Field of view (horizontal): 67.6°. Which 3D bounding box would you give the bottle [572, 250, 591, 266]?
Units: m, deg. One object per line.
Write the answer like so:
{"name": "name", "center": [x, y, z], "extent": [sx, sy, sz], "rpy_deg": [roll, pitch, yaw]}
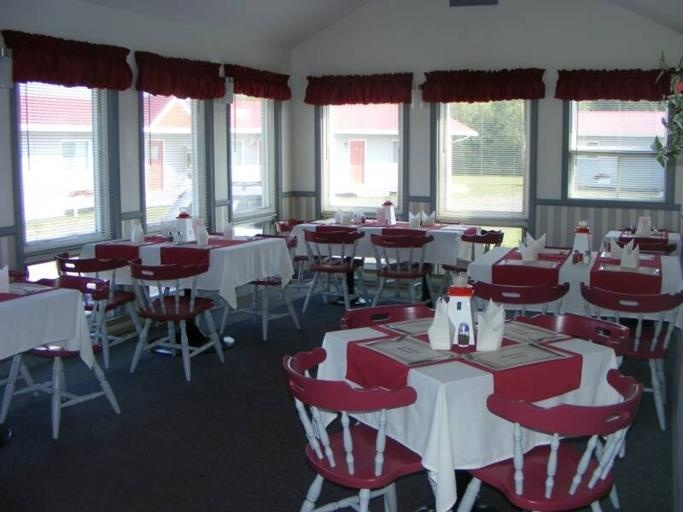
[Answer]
{"name": "bottle", "center": [1.914, 0.010, 4.059], "extent": [0.119, 0.087, 0.118], "rpy_deg": [0, 8, 0]}

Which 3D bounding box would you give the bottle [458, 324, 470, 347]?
{"name": "bottle", "center": [0.565, 0.362, 2.344], "extent": [0.053, 0.095, 0.064], "rpy_deg": [2, 12, 13]}
